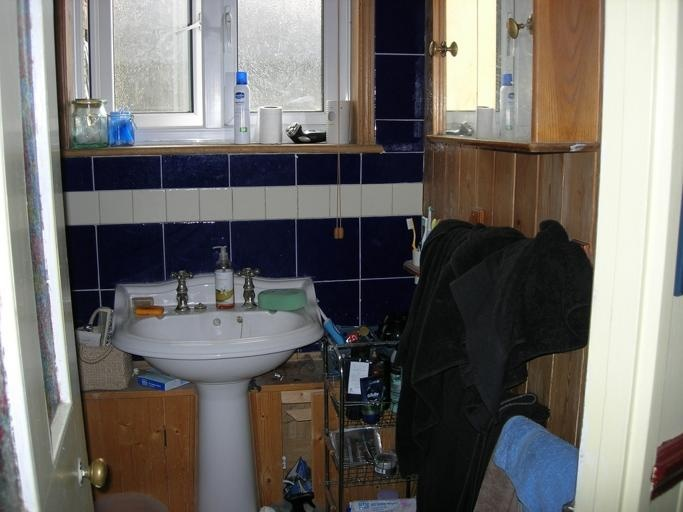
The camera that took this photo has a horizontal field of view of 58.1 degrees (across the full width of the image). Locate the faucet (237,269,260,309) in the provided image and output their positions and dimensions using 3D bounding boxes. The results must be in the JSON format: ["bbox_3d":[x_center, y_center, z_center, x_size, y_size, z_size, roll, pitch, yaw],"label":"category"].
[{"bbox_3d":[-0.351,0.130,2.315,0.079,0.154,0.083,0,-12,-17],"label":"faucet"}]

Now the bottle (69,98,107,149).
[{"bbox_3d":[-0.942,-0.486,2.281,0.119,0.192,0.046,-4,15,-32],"label":"bottle"}]

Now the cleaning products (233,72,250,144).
[{"bbox_3d":[-0.389,-0.566,2.362,0.070,0.268,0.062,-5,7,-8],"label":"cleaning products"}]

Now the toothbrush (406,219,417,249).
[{"bbox_3d":[0.281,-0.086,2.480,0.037,0.127,0.107,-3,8,6],"label":"toothbrush"}]

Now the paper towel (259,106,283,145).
[{"bbox_3d":[-0.280,-0.507,2.399,0.081,0.142,0.088,-19,29,-38],"label":"paper towel"}]

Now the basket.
[{"bbox_3d":[-0.830,0.324,2.266,0.202,0.258,0.285,-1,7,-12],"label":"basket"}]
